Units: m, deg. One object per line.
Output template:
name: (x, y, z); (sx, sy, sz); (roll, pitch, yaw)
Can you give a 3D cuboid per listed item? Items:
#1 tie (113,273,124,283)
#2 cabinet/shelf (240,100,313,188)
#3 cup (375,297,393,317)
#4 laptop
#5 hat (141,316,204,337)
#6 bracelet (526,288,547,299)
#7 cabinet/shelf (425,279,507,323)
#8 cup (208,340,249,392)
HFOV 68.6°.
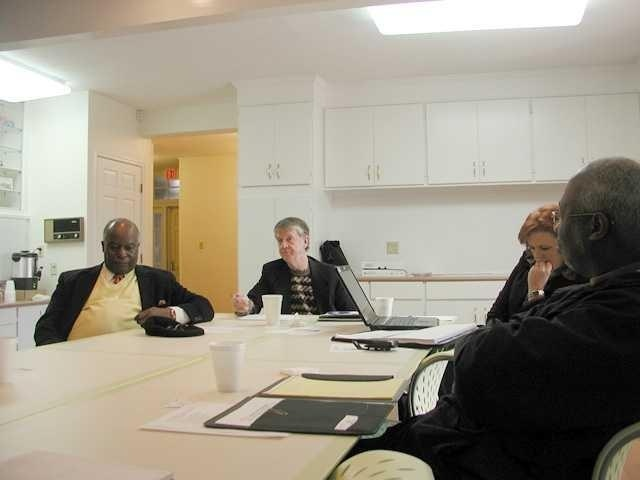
tie: (-0.953, 0.181, 2.205); (0.042, 0.036, 0.015); (-3, -16, -13)
cabinet/shelf: (-0.312, -0.850, 4.392); (0.857, 0.745, 0.385); (6, 10, 32)
cup: (0.292, 0.304, 2.141); (0.091, 0.063, 0.083); (1, -13, 0)
laptop: (0.282, 0.226, 1.922); (0.419, 0.218, 0.419); (-2, -5, 17)
hat: (-0.516, 0.284, 1.600); (0.131, 0.035, 0.097); (-2, -2, 14)
bracelet: (0.823, 0.211, 1.813); (0.078, 0.038, 0.073); (-3, -13, -14)
cabinet/shelf: (1.087, 0.444, 3.446); (0.595, 0.467, 0.197); (0, -3, 5)
cup: (-0.182, 0.260, 0.963); (0.090, 0.084, 0.082); (-2, -15, -1)
